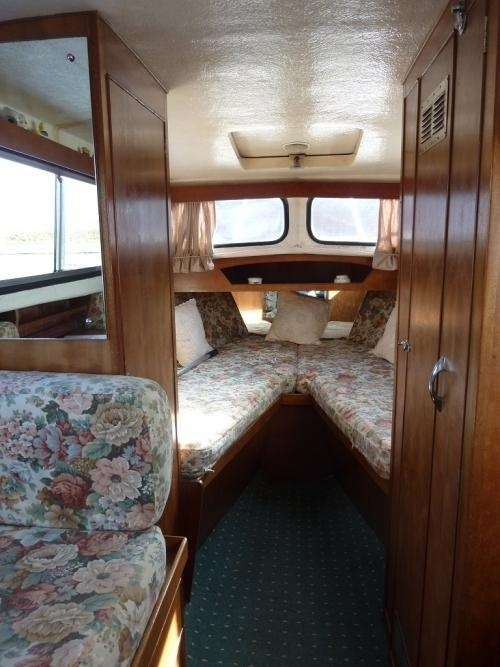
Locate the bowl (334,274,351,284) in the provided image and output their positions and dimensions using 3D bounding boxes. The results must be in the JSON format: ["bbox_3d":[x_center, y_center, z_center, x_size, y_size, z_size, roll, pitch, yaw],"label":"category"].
[{"bbox_3d":[0.761,-0.449,3.842,0.081,0.045,0.083,-1,12,0],"label":"bowl"}]
